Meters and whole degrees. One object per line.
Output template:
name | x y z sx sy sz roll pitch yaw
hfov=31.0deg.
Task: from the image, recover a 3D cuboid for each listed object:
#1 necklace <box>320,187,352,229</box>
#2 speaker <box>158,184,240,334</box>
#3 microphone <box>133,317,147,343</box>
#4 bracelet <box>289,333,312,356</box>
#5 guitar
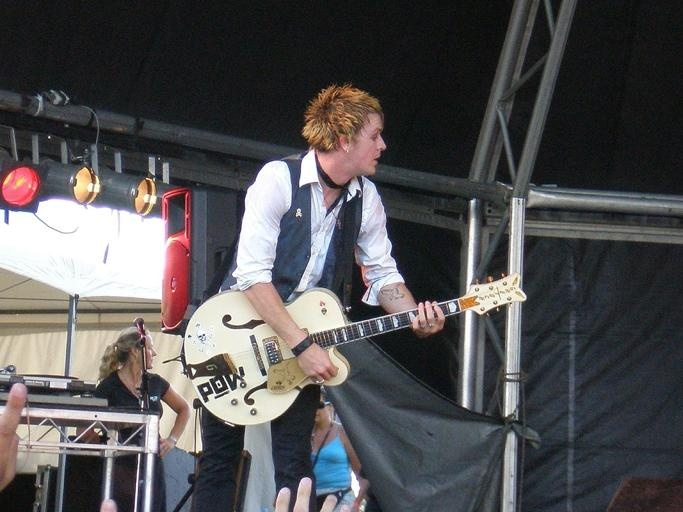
necklace | -0.013 -0.318 8.293 0.112 0.291 0.051 24 -13 8
speaker | -1.053 0.034 9.248 0.444 1.722 0.767 3 -14 -11
microphone | -1.662 0.623 10.157 0.117 0.233 0.114 3 -9 -40
bracelet | -0.250 0.584 8.021 0.141 0.144 0.101 3 -16 -4
guitar | -0.144 0.674 8.126 1.841 0.885 0.260 2 -15 -1
